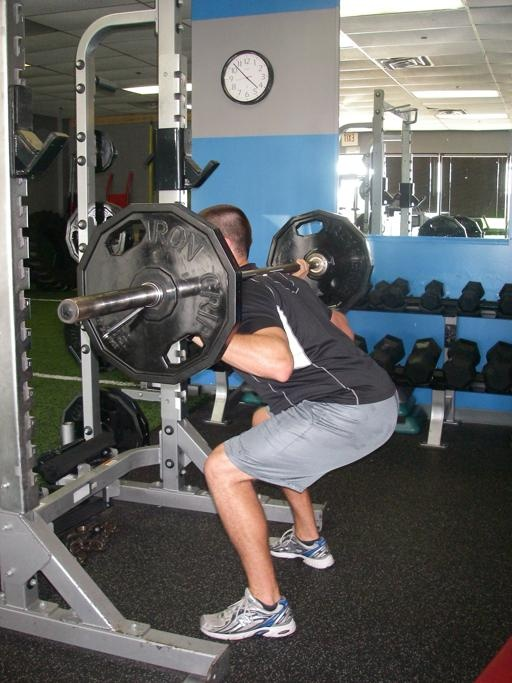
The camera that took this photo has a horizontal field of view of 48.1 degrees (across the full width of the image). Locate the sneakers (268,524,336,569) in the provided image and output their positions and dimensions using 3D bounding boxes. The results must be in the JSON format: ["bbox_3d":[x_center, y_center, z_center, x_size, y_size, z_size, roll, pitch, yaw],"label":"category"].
[{"bbox_3d":[0.150,0.601,1.774,0.271,0.100,0.140,3,8,18],"label":"sneakers"}]
